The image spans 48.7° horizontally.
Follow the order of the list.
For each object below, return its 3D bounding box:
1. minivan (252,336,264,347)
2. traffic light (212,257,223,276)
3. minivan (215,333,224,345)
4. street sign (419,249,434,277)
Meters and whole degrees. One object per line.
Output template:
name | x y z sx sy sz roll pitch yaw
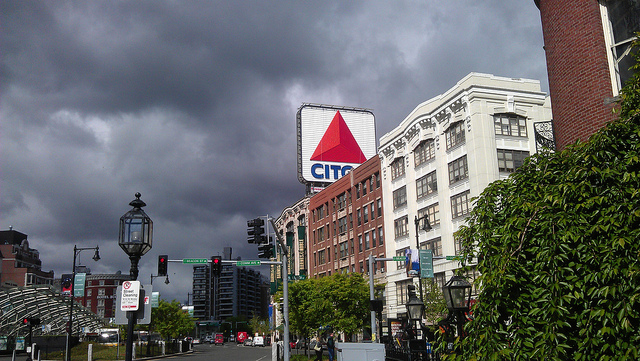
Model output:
minivan | -11.001 28.628 125.243 1.686 1.375 2.694 3 -8 -10
traffic light | -7.446 6.174 50.983 0.634 1.132 3.170 -5 -10 -7
minivan | -22.085 34.828 155.430 1.697 1.965 3.319 3 -15 -13
street sign | 7.786 6.023 51.358 0.552 1.920 1.351 -14 -12 43
